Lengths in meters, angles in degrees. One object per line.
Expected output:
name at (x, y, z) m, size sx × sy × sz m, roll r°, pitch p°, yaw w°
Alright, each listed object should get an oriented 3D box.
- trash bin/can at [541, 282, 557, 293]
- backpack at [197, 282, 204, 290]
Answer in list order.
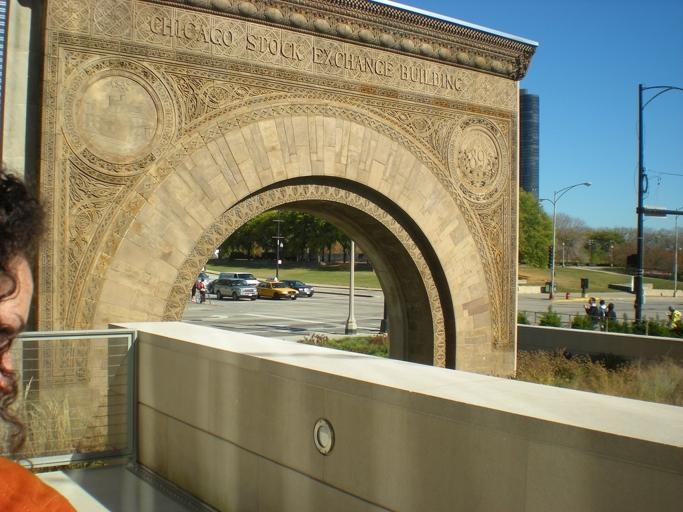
trash bin/can at (15.403, 2.374, 55.888) m, size 0.569 × 1.121 × 1.124 m, roll -1°, pitch 0°, yaw -1°
backpack at (-7.870, 1.655, 41.623) m, size 0.334 × 0.334 × 0.973 m, roll -5°, pitch 0°, yaw -16°
